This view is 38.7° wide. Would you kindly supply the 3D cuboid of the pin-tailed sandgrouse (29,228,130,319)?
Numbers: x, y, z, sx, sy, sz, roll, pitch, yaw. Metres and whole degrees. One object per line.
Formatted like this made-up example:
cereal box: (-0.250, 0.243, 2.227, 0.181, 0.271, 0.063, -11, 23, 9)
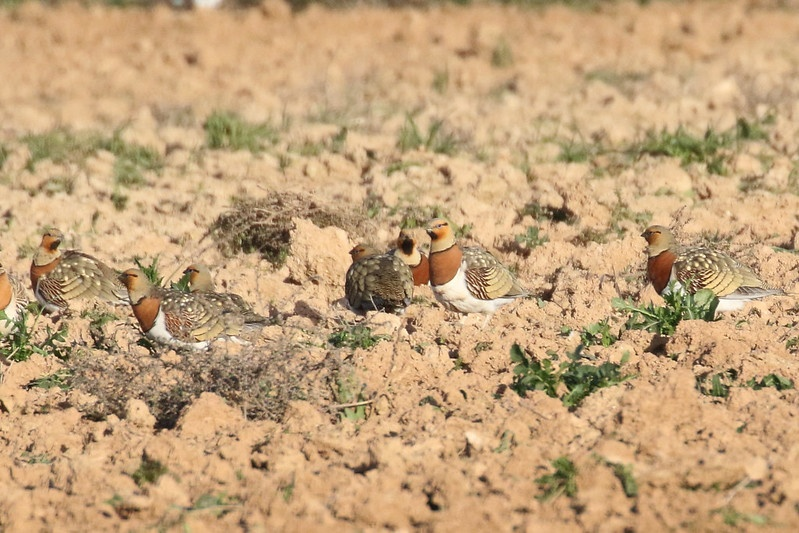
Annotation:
pin-tailed sandgrouse: (-3.589, 0.050, 13.063, 1.225, 0.771, 0.853, 5, -63, 10)
